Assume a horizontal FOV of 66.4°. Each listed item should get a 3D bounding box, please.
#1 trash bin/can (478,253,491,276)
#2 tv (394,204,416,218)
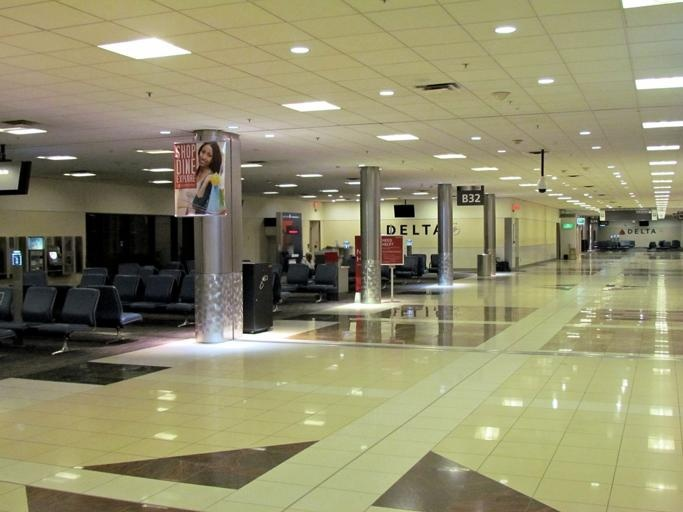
[{"bbox_3d":[7.004,0.449,25.812,0.635,1.134,0.822,-2,3,15],"label":"trash bin/can"},{"bbox_3d":[3.649,-2.701,30.665,1.064,0.791,1.235,-1,2,11],"label":"tv"}]
